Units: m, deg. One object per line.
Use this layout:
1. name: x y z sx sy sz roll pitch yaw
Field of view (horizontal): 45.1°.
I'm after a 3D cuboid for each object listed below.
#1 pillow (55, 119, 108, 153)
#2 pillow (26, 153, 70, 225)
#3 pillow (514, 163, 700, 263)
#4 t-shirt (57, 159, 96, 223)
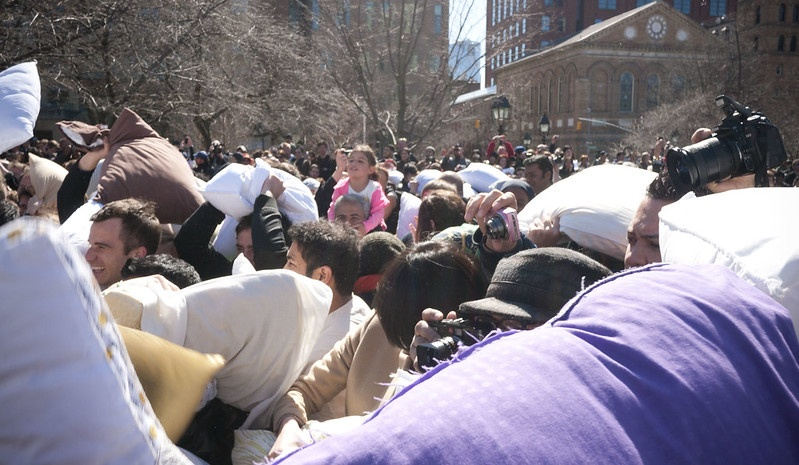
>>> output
1. pillow: -8.258 -2.576 25.232 0.958 0.942 0.355 14 46 -6
2. pillow: -10.040 -1.599 27.026 0.561 1.107 1.270 42 5 -25
3. pillow: 4.961 -0.745 24.322 2.800 0.877 2.785 -30 37 -28
4. t-shirt: -8.552 -1.084 25.179 1.200 1.380 0.480 32 12 39
